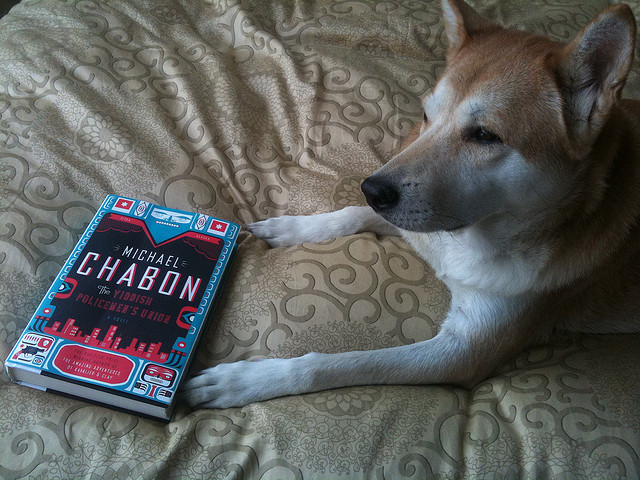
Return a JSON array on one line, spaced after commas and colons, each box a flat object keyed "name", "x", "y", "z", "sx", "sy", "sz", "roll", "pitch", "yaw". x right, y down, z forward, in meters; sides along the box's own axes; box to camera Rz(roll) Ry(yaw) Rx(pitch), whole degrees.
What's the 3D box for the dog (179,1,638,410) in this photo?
[{"name": "dog", "x": 0.278, "y": -0.069, "z": 1.563, "sx": 1.822, "sy": 0.962, "sz": 0.613, "roll": -19, "pitch": 48, "yaw": -10}]
